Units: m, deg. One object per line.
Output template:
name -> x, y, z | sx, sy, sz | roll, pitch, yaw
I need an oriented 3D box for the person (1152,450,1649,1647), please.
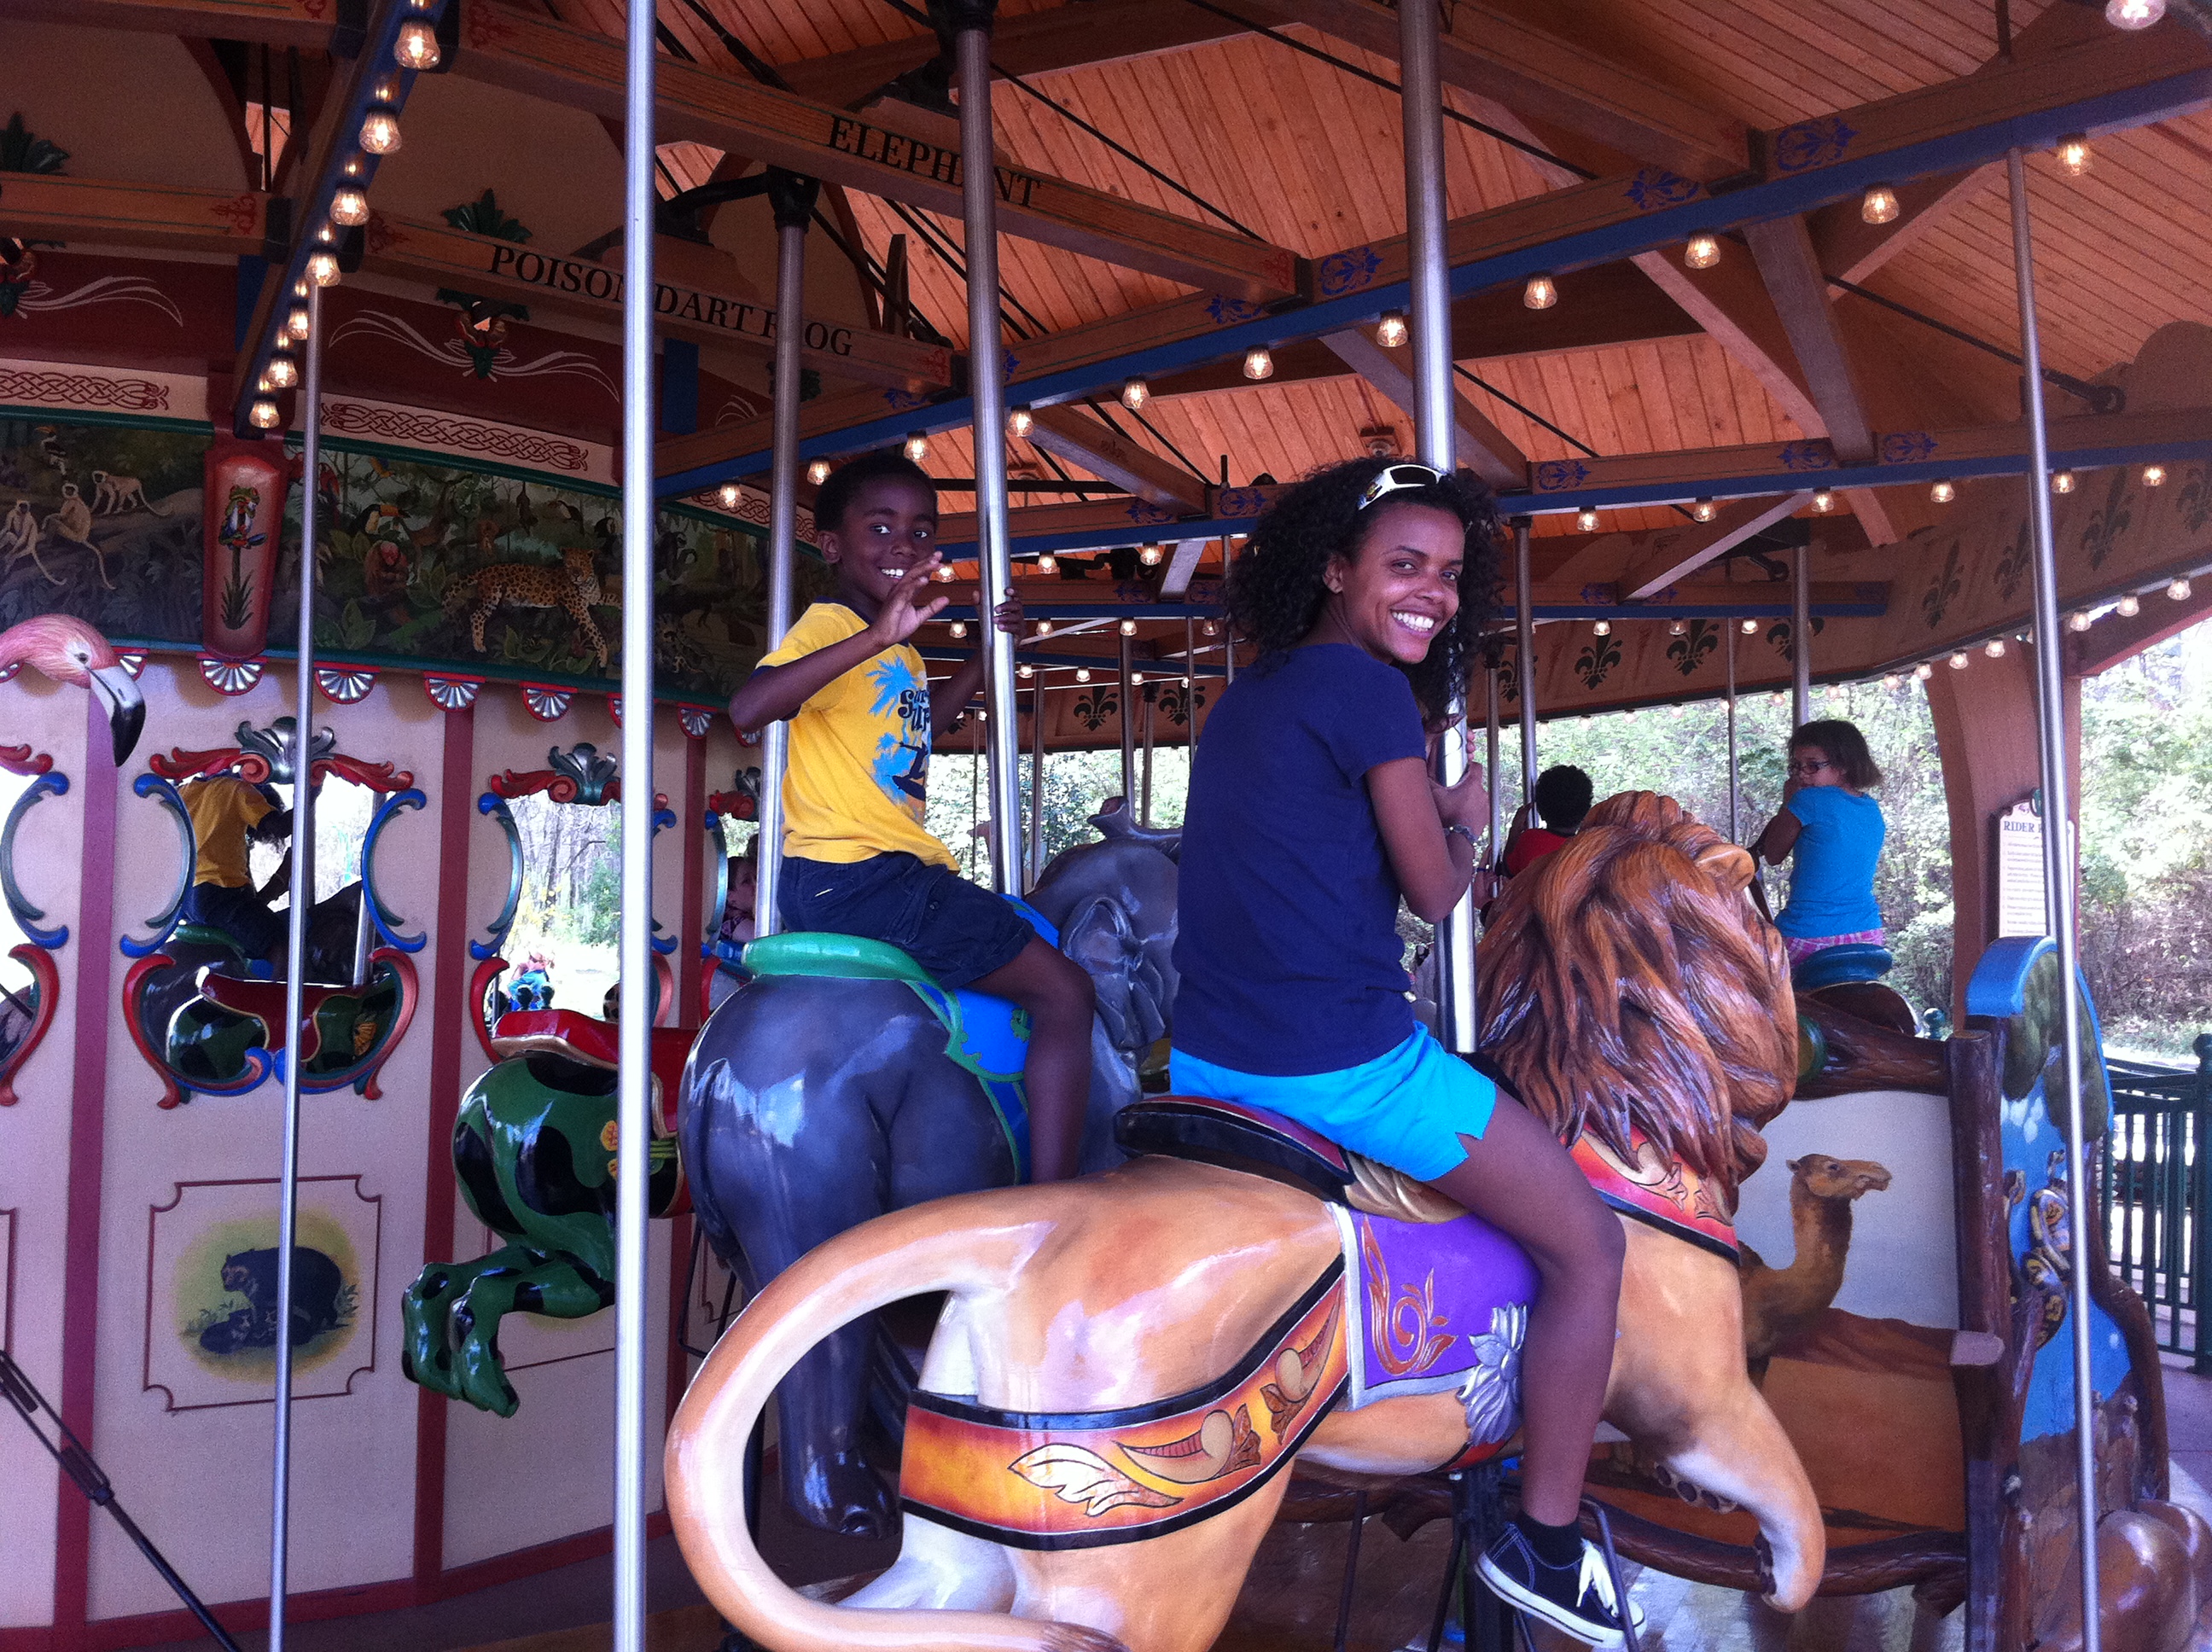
person -> 0.617, 0.480, 4.580 | 0.963, 2.553, 0.357 | 0, -2, 0

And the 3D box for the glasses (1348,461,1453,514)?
glasses -> 0.626, -0.737, 4.605 | 0.128, 0.042, 0.129 | -14, -18, -43
